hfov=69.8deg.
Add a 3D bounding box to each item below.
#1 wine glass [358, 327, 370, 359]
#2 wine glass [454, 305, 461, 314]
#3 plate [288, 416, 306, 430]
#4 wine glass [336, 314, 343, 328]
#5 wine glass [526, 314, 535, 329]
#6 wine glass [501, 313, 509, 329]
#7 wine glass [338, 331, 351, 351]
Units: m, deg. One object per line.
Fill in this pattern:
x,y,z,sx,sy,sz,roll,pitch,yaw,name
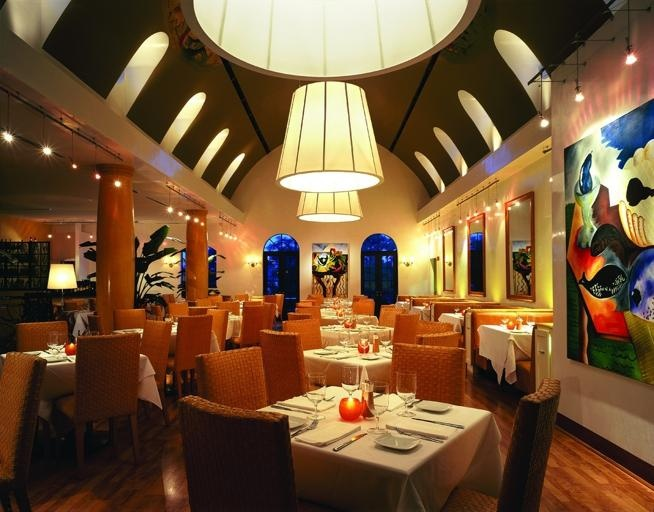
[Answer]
0.412,0.958,5.187,0.163,0.356,0.192,0,2,4,wine glass
2.617,1.066,9.331,0.082,0.099,0.091,0,1,-11,wine glass
-0.176,0.953,2.692,0.140,0.031,0.130,4,1,1,plate
0.248,1.079,7.905,0.118,0.239,0.134,0,-4,4,wine glass
3.072,0.983,7.061,0.107,0.238,0.126,1,-6,-5,wine glass
2.738,0.987,7.172,0.138,0.289,0.167,0,-5,0,wine glass
0.210,0.930,5.192,0.140,0.277,0.167,0,-8,0,wine glass
